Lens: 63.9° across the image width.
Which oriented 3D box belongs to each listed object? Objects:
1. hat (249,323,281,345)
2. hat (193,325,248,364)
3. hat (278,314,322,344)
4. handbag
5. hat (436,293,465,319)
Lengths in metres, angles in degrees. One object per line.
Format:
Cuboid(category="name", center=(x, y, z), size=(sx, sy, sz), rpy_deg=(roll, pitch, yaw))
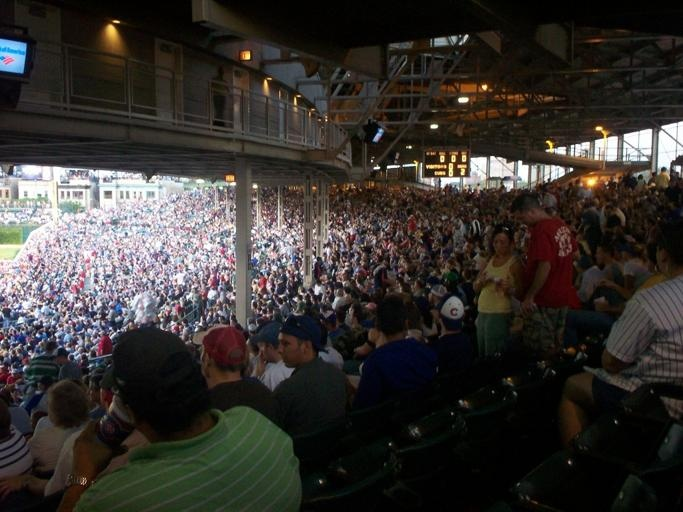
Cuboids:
Cuboid(category="hat", center=(-0.780, 0.795, 5.684), size=(0.269, 0.162, 0.199), rpy_deg=(10, 0, 1))
Cuboid(category="hat", center=(-0.902, 0.669, 4.129), size=(0.236, 0.205, 0.345), rpy_deg=(-13, 32, -43))
Cuboid(category="hat", center=(-0.327, 0.634, 4.662), size=(0.291, 0.152, 0.214), rpy_deg=(27, -9, -20))
Cuboid(category="handbag", center=(1.757, 0.969, 3.255), size=(0.263, 0.383, 0.139), rpy_deg=(10, 2, -14))
Cuboid(category="hat", center=(1.088, 0.512, 5.453), size=(0.228, 0.241, 0.247), rpy_deg=(0, 5, 9))
